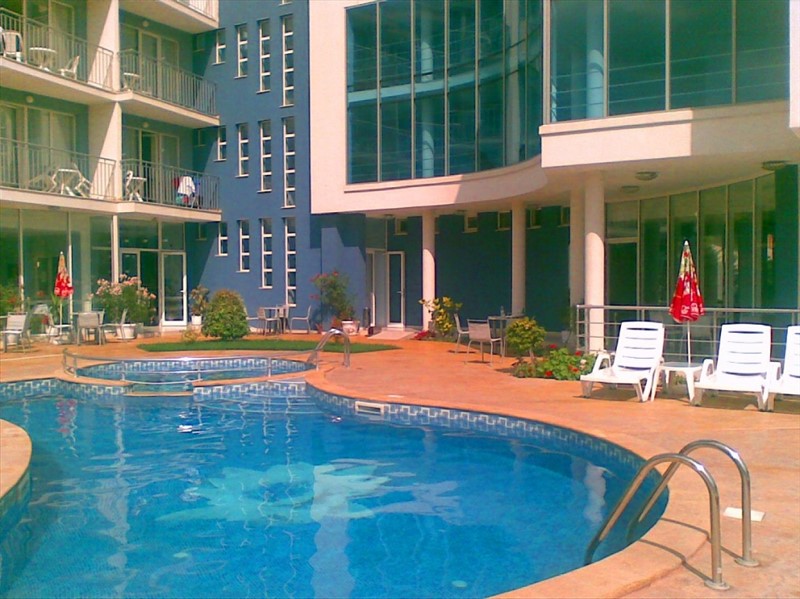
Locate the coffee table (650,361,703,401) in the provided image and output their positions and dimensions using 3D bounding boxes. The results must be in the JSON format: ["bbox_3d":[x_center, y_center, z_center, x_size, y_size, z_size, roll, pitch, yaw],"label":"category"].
[{"bbox_3d":[4.595,1.383,13.876,0.634,0.509,0.650,0,3,32],"label":"coffee table"}]

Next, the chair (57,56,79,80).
[{"bbox_3d":[-9.170,-6.455,23.219,0.512,0.719,0.878,-1,1,-22],"label":"chair"}]

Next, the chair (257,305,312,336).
[{"bbox_3d":[-3.675,0.704,27.209,1.487,0.778,0.977,1,0,-2],"label":"chair"}]

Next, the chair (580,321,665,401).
[{"bbox_3d":[3.820,1.025,14.059,1.010,1.086,1.605,1,10,30],"label":"chair"}]

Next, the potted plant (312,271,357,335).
[{"bbox_3d":[-2.079,0.028,26.297,1.326,1.854,0.814,0,1,16],"label":"potted plant"}]

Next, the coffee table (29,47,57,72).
[{"bbox_3d":[-9.584,-6.483,22.496,0.646,0.749,1.654,-1,1,-22],"label":"coffee table"}]
